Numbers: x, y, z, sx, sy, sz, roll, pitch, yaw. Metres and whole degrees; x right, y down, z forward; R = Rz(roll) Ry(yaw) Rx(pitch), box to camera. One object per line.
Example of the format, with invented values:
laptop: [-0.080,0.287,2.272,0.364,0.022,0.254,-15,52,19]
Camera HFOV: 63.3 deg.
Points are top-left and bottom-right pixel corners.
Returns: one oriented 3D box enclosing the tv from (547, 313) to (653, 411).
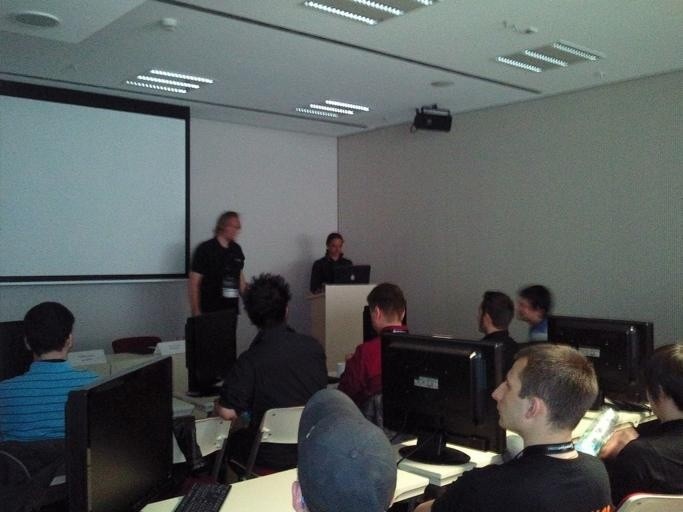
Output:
tv: [1.541,0.644,3.406,0.559,0.562,0.185,2,6,45]

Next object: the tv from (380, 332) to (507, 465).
tv: [0.464,0.649,2.511,0.548,0.482,0.187,5,11,35]

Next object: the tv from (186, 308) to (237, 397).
tv: [-0.856,0.645,3.650,0.179,0.560,0.558,-1,-3,23]

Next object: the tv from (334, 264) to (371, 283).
tv: [0.115,0.146,6.076,0.289,0.196,0.205,2,5,-29]
